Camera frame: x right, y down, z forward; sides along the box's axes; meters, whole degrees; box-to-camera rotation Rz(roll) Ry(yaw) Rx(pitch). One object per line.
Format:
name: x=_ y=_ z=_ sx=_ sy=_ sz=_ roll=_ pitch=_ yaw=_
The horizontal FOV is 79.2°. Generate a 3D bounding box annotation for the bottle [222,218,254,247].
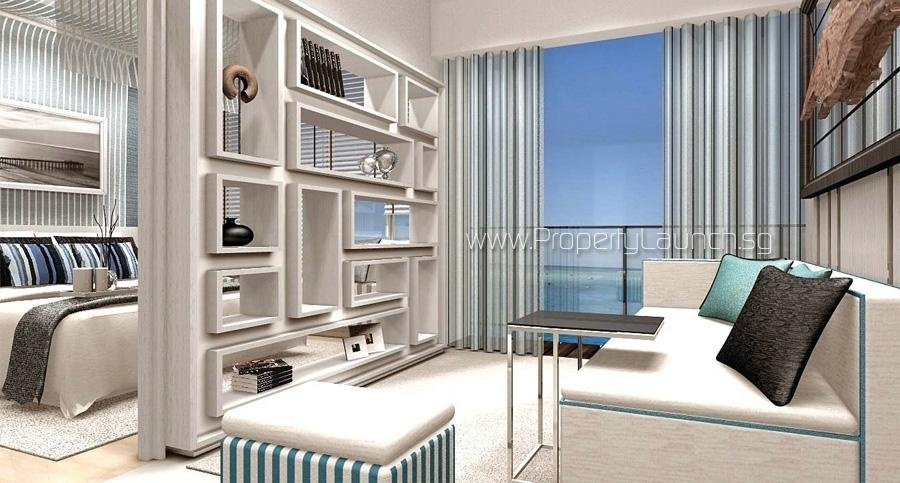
bottle: x=-1.701 y=-0.074 z=4.365 sx=0.237 sy=0.224 sz=0.362 roll=-2 pitch=4 yaw=-19

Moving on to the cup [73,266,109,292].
cup: x=-3.320 y=0.352 z=5.042 sx=0.248 sy=0.222 sz=0.289 roll=-1 pitch=4 yaw=-9
